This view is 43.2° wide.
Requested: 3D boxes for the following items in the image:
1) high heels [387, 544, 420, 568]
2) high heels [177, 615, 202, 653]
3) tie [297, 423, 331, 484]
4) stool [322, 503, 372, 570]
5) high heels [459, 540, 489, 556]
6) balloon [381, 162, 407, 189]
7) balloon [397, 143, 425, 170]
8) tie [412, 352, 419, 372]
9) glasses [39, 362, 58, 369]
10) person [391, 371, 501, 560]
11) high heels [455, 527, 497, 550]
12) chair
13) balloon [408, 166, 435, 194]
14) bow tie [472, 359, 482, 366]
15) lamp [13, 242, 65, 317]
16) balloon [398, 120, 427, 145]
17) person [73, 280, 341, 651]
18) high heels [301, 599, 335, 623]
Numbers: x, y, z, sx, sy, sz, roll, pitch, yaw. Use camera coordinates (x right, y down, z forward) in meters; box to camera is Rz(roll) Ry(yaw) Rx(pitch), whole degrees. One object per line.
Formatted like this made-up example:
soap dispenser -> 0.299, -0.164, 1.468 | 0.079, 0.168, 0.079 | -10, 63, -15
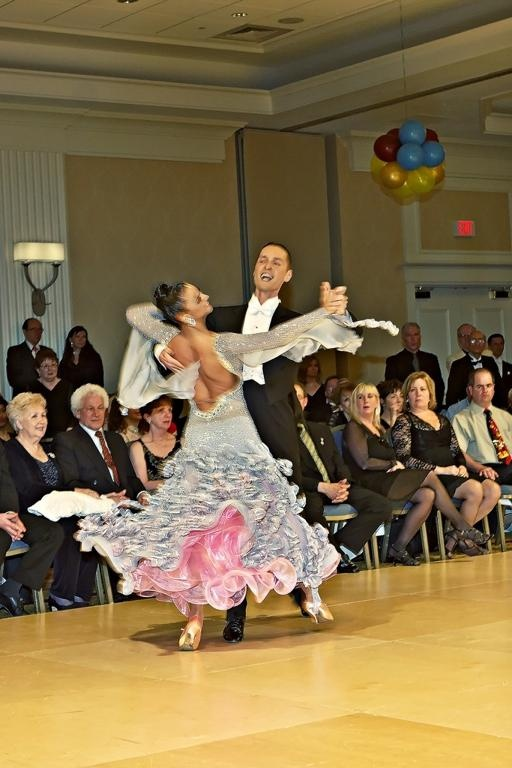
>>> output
high heels -> 1.062, 1.275, 4.732 | 0.238, 0.120, 0.099 | -5, -6, 45
high heels -> -0.246, 0.988, 2.518 | 0.068, 0.066, 0.172 | 6, 42, 5
tie -> 0.407, 0.510, 4.599 | 0.107, 0.550, 0.144 | -28, -2, -4
stool -> 0.633, 1.121, 4.701 | 0.360, 0.445, 0.377 | -13, -5, 30
high heels -> 1.674, 1.280, 5.059 | 0.270, 0.085, 0.130 | -1, 3, -7
balloon -> 1.262, -1.908, 5.909 | 0.194, 0.207, 0.184 | 15, -37, -30
balloon -> 1.370, -2.027, 5.753 | 0.255, 0.225, 0.133 | 1, 4, 15
tie -> 2.135, -0.299, 8.668 | 0.120, 0.243, 0.070 | -3, 2, -39
glasses -> -2.196, -0.204, 6.860 | 0.108, 0.099, 0.033 | 1, 41, -24
person -> 1.588, 0.650, 5.317 | 0.840, 1.391, 0.643 | 6, 14, 44
high heels -> 1.660, 1.225, 5.025 | 0.364, 0.146, 0.196 | 0, -3, 27
chair -> 0.844, 0.869, 4.907 | 0.559, 0.901, 0.627 | -21, -28, 17
balloon -> 1.494, -1.855, 5.891 | 0.228, 0.204, 0.212 | -2, 1, 22
bow tie -> 2.785, -0.262, 8.139 | 0.099, 0.087, 0.025 | -5, -2, -26
lamp -> -2.635, -1.275, 7.949 | 0.602, 0.771, 0.172 | -3, 1, -16
balloon -> 1.425, -2.287, 5.881 | 0.253, 0.248, 0.240 | -2, 1, 6
person -> -0.137, 0.353, 2.693 | 1.375, 1.388, 0.842 | -5, 9, -29
high heels -> 0.269, 0.999, 2.831 | 0.116, 0.080, 0.210 | -2, -22, -9
